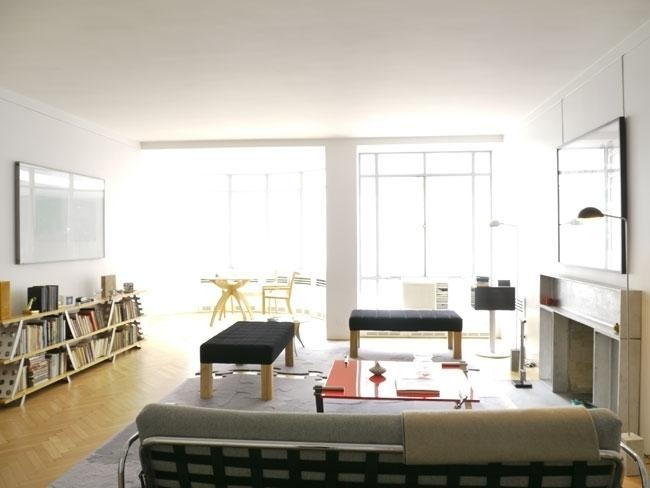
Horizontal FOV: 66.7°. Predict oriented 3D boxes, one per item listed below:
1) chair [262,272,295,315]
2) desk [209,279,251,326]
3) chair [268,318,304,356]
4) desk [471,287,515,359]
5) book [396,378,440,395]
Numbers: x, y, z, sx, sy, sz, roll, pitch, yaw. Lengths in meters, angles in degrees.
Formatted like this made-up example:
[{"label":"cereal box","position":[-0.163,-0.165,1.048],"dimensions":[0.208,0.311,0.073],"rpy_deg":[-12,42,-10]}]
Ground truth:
[{"label":"chair","position":[-0.973,1.017,10.389],"dimensions":[0.827,1.114,0.807],"rpy_deg":[2,-4,-6]},{"label":"desk","position":[-1.918,1.066,9.943],"dimensions":[0.785,0.968,1.670],"rpy_deg":[-2,8,-12]},{"label":"chair","position":[-0.518,1.315,7.434],"dimensions":[0.623,0.706,0.558],"rpy_deg":[-1,-4,6]},{"label":"desk","position":[2.558,1.164,7.459],"dimensions":[0.557,1.017,0.600],"rpy_deg":[2,-1,20]},{"label":"book","position":[0.889,1.366,4.722],"dimensions":[0.420,0.031,0.375],"rpy_deg":[1,8,4]}]
